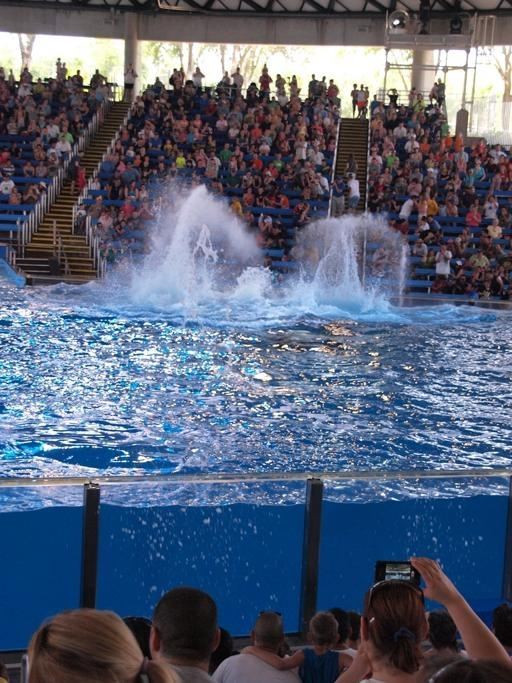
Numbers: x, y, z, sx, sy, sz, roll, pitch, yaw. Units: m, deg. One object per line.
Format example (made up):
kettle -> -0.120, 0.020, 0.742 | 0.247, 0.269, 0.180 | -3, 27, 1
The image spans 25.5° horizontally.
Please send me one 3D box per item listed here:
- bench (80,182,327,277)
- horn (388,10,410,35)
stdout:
bench -> -0.753, -2.200, 21.136 | 4.664, 1.404, 2.878 | 1, 11, -11
horn -> 3.373, -7.488, 26.369 | 0.468, 0.560, 0.746 | 4, 11, 6
